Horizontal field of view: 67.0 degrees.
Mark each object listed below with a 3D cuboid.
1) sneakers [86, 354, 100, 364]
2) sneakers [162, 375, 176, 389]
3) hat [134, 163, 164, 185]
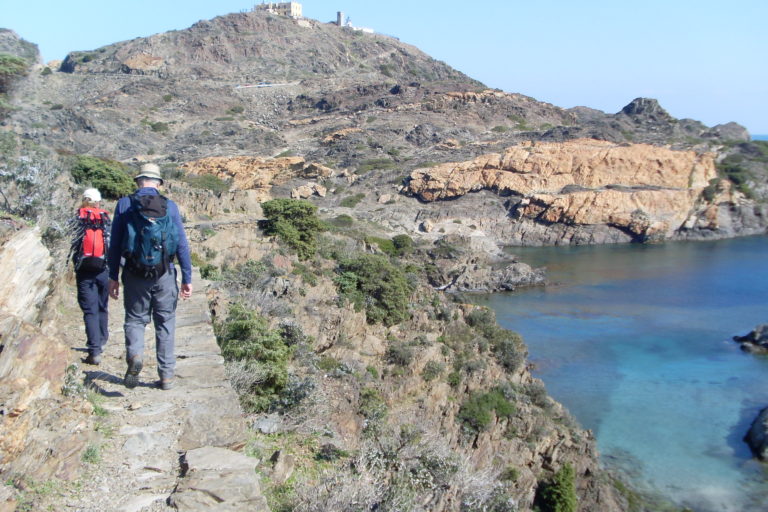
[{"bbox_3d":[-4.872,1.750,9.775,0.217,0.174,0.167,5,-5,21],"label":"sneakers"},{"bbox_3d":[-3.414,2.016,9.225,0.145,0.164,0.265,3,7,3],"label":"sneakers"},{"bbox_3d":[-3.683,-1.340,9.195,0.380,0.203,0.414,3,-13,-6],"label":"hat"}]
